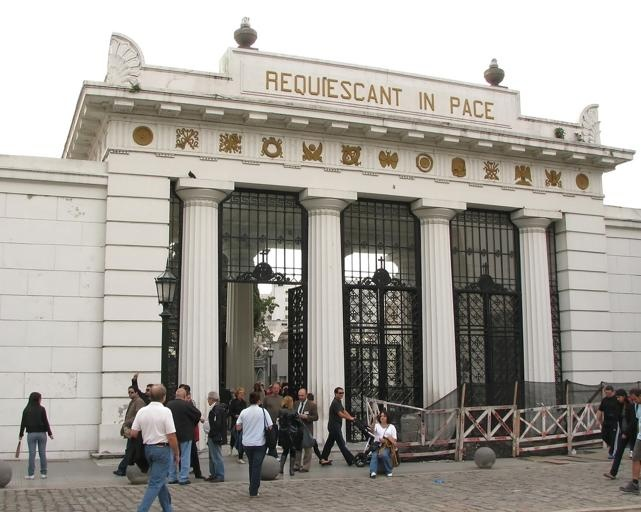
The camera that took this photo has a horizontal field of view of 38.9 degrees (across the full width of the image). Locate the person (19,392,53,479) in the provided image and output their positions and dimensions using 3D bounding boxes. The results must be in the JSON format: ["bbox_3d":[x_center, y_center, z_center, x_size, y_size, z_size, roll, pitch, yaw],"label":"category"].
[{"bbox_3d":[-6.845,4.249,21.872,0.715,2.034,0.904,2,-10,-18],"label":"person"}]

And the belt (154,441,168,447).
[{"bbox_3d":[-2.989,3.522,17.241,0.238,0.063,0.025,2,-10,-19],"label":"belt"}]

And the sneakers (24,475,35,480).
[{"bbox_3d":[-6.853,5.183,21.466,0.187,0.093,0.068,4,-4,10],"label":"sneakers"}]

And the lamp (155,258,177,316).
[{"bbox_3d":[-3.766,0.864,22.221,0.644,1.686,0.591,3,-6,-16],"label":"lamp"}]

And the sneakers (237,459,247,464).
[{"bbox_3d":[-2.087,5.429,24.219,0.117,0.141,0.335,5,-17,-30],"label":"sneakers"}]
